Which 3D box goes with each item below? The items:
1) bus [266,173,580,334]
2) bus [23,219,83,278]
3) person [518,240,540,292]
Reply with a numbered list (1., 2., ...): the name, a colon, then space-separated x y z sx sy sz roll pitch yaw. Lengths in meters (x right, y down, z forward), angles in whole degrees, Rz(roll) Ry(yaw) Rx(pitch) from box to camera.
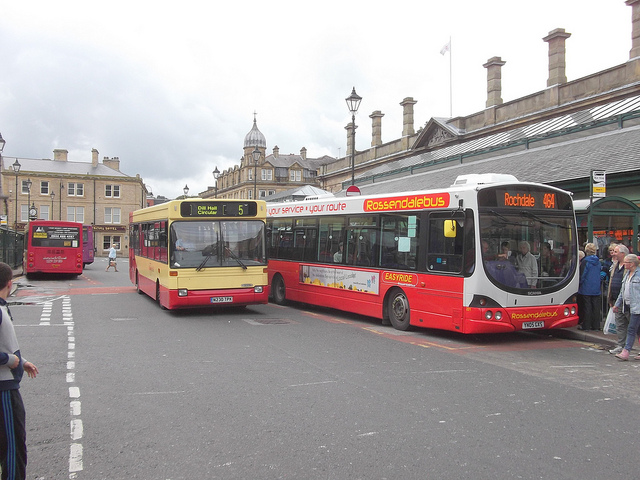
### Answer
1. bus: 1.151 0.520 17.095 3.971 4.175 13.660 1 -3 -24
2. bus: -16.372 0.348 31.113 2.307 2.406 4.261 1 1 -27
3. person: 4.737 0.560 11.316 0.614 1.139 0.162 0 1 -29
